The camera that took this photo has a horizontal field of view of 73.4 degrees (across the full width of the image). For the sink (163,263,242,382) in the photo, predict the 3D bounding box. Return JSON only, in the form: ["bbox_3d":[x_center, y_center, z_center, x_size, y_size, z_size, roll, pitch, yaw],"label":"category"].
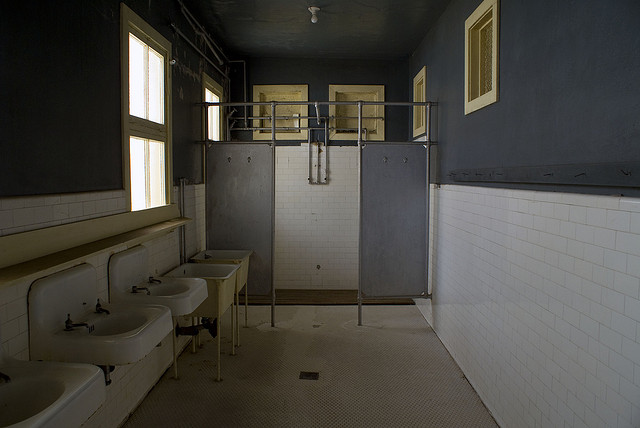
[{"bbox_3d":[-1.237,1.139,4.641,0.672,0.965,0.964,-1,-1,-3],"label":"sink"}]

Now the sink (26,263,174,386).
[{"bbox_3d":[-1.573,0.869,3.232,0.735,0.842,0.775,2,5,2],"label":"sink"}]

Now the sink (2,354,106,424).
[{"bbox_3d":[-1.595,1.009,2.500,0.375,0.189,0.366,4,1,7],"label":"sink"}]

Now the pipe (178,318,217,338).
[{"bbox_3d":[-1.246,1.134,4.378,0.337,0.209,0.190,2,-2,-15],"label":"pipe"}]

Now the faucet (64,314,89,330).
[{"bbox_3d":[-1.744,0.777,3.096,0.066,0.102,0.166,2,0,45],"label":"faucet"}]

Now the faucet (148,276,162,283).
[{"bbox_3d":[-1.555,0.621,4.034,0.041,0.052,0.131,-2,-6,34],"label":"faucet"}]

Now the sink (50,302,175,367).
[{"bbox_3d":[-1.449,0.927,3.007,0.499,0.178,0.567,2,6,-3],"label":"sink"}]

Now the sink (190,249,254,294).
[{"bbox_3d":[-1.188,0.686,5.211,0.566,0.369,0.472,2,1,2],"label":"sink"}]

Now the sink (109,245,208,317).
[{"bbox_3d":[-1.423,0.634,3.811,0.652,0.467,0.707,0,1,-5],"label":"sink"}]

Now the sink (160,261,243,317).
[{"bbox_3d":[-1.139,0.785,4.583,0.497,0.335,0.698,0,-4,0],"label":"sink"}]
